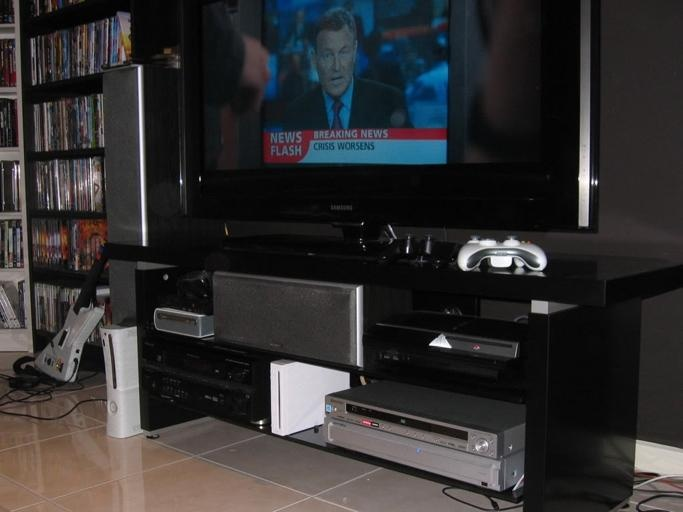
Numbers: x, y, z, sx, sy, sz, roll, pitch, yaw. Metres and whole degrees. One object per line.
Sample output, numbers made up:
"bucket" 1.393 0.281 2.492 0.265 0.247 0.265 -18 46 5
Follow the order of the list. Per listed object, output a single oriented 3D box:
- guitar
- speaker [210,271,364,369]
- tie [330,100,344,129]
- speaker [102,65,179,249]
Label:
"guitar" -1.273 0.250 3.028 0.304 0.776 0.073 3 -23 40
"speaker" -0.187 0.201 2.003 0.616 0.265 0.085 4 2 34
"tie" -0.018 -0.488 2.121 0.032 0.108 0.031 2 8 11
"speaker" -0.873 -0.459 2.713 0.278 0.775 0.404 -7 10 -39
